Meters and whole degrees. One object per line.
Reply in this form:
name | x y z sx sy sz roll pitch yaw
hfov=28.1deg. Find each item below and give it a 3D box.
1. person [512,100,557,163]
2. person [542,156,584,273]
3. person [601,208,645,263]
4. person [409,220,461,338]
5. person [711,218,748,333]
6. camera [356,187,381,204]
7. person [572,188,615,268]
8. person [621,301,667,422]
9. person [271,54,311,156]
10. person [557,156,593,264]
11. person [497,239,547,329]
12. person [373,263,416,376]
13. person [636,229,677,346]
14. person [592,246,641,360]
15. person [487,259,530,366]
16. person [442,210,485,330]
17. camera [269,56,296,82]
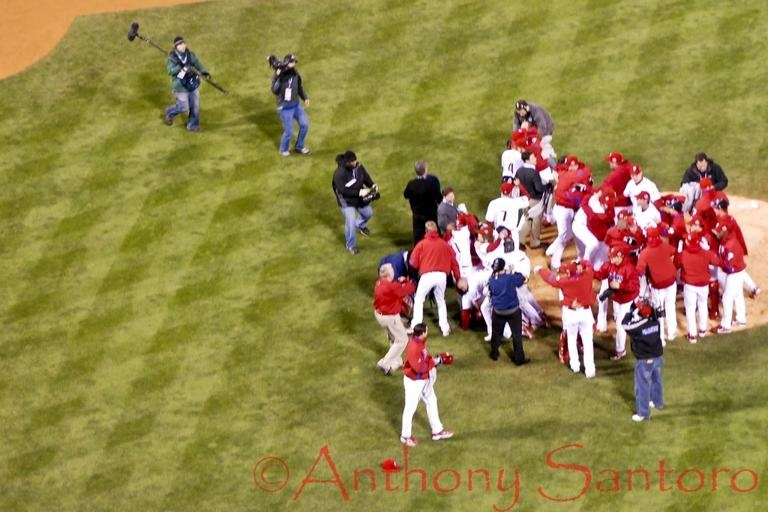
person | 4.173 -3.362 41.817 0.869 1.647 0.776 -6 -12 -26
person | 4.960 -1.080 40.319 1.183 2.894 1.034 3 12 4
person | 6.113 -0.523 38.274 1.006 1.145 0.461 0 0 5
person | 1.360 0.597 39.162 1.237 2.762 1.032 2 2 3
person | 8.808 0.526 38.581 0.885 2.652 0.573 -2 2 32
camera | -0.381 -1.528 41.058 0.384 0.213 0.458 -17 -19 -17
person | 5.440 -0.667 39.573 0.983 2.066 0.733 1 0 5
person | 6.402 2.463 37.329 0.888 2.944 1.248 17 27 42
person | -2.501 -4.184 42.899 1.073 2.795 1.130 -4 7 -35
person | 4.978 -1.146 40.296 1.026 2.903 1.279 -2 11 -12
person | 3.580 0.756 39.108 1.046 2.403 1.006 2 6 21
person | 0.234 1.604 38.778 1.353 2.706 1.062 -8 12 -6
person | 6.953 0.614 38.690 1.025 2.856 0.951 -22 33 -18
person | 5.832 1.193 38.220 1.423 2.697 1.167 -9 15 -32
person | 3.069 1.423 38.115 1.094 2.526 0.746 1 -2 -5
person | 2.098 0.381 39.188 1.001 2.851 0.746 2 -1 -5
camera | -2.781 -5.221 42.466 0.746 0.315 0.607 14 33 37
